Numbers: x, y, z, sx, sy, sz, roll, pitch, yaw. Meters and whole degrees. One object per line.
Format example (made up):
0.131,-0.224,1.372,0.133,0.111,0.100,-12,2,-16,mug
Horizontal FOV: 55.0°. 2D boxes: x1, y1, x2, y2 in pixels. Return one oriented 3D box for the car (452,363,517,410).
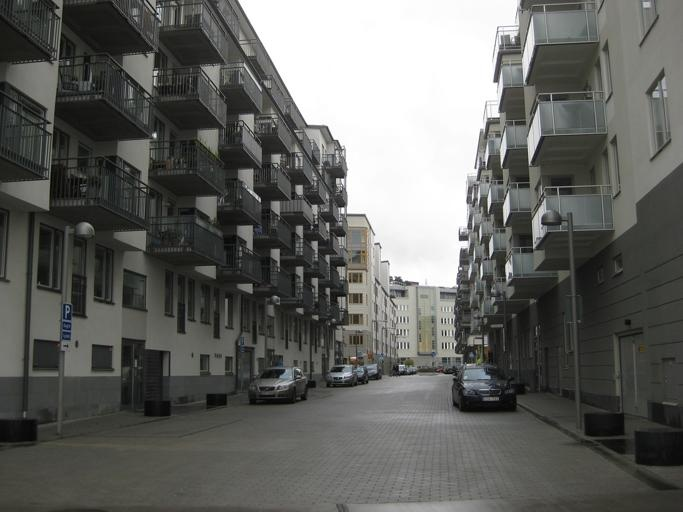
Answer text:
5.216,4.817,24.217,1.929,1.873,2.598,-3,-16,2,car
